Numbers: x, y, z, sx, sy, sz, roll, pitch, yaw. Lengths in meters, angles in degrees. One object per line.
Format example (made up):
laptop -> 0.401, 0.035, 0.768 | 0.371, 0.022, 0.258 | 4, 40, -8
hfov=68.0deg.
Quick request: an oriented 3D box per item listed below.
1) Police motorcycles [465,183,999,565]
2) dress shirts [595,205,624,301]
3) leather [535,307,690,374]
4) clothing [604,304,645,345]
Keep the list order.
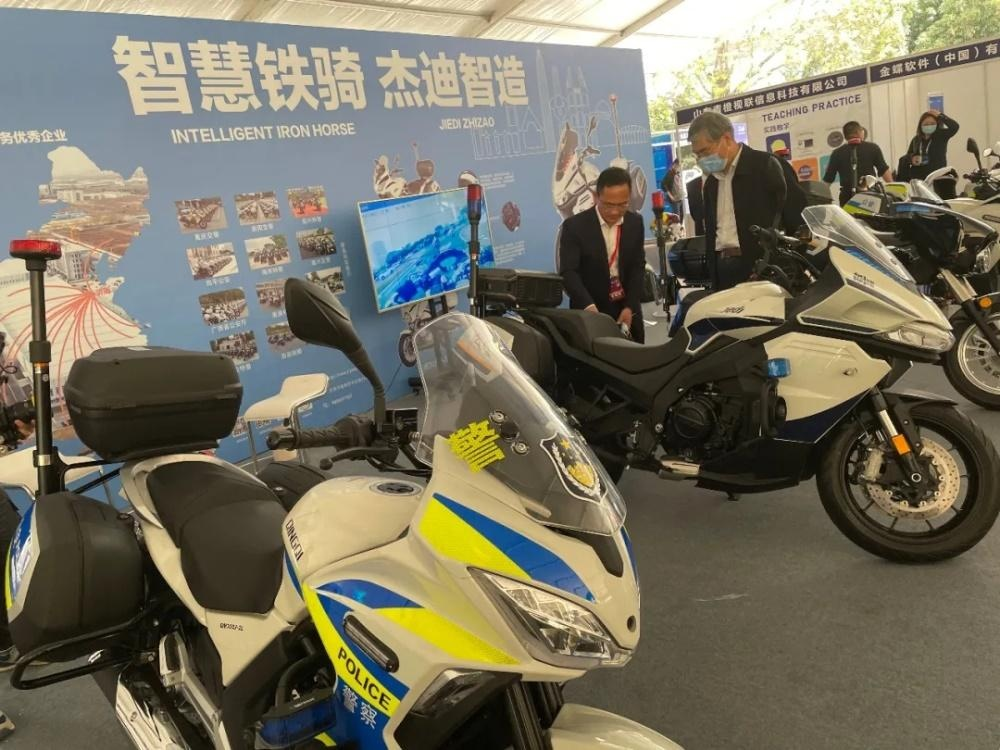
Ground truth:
Police motorcycles -> 0.940, -0.222, 4.149 | 2.940, 1.889, 1.255 | 5, 19, 24
dress shirts -> 0.714, -0.776, 4.783 | 0.160, 0.594, 0.139 | -7, 21, 1
leather -> 0.513, -0.171, 3.588 | 0.732, 0.243, 0.243 | 24, 23, 28
clothing -> 0.758, -0.333, 4.693 | 0.189, 0.219, 0.393 | -17, 9, -5
